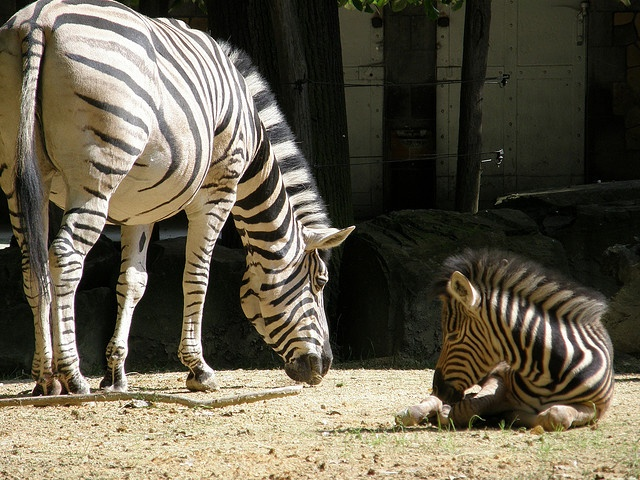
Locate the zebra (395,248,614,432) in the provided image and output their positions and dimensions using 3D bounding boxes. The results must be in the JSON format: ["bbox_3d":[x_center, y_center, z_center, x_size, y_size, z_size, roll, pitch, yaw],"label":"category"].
[{"bbox_3d":[1.346,0.773,6.993,1.237,1.184,1.560,2,-2,-30],"label":"zebra"}]
